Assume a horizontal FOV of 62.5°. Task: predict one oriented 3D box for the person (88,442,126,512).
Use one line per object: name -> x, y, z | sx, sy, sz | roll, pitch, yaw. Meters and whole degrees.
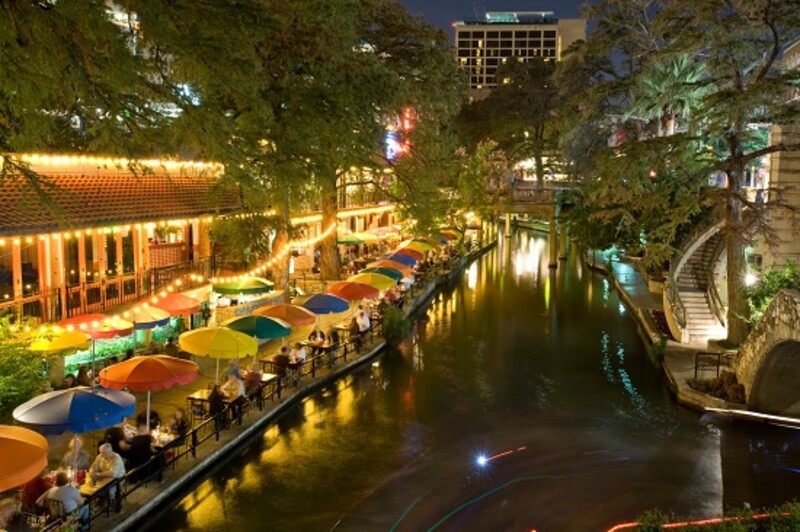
person -> -7.533, 5.429, 16.914 | 0.753, 1.657, 1.014 | 1, 5, 20
